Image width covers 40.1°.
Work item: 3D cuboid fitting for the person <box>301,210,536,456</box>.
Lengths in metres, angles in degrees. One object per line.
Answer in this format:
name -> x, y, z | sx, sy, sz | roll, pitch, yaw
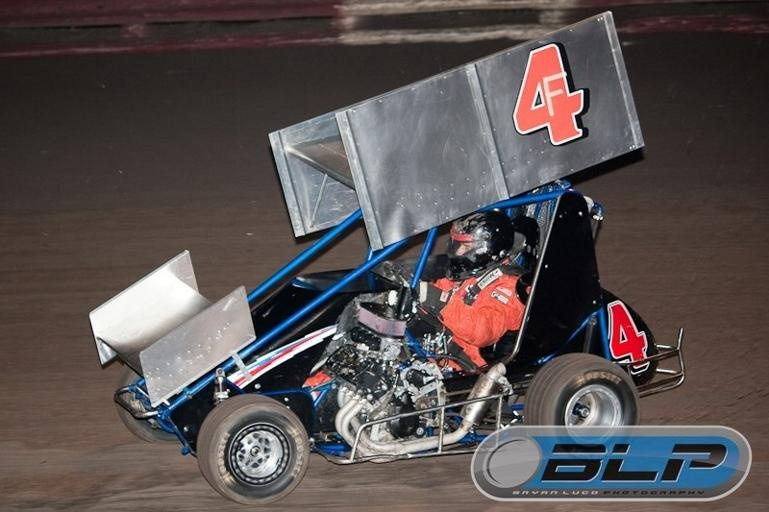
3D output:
person -> 0.539, 0.477, 8.229 | 1.221, 1.528, 1.037 | -6, 7, 2
